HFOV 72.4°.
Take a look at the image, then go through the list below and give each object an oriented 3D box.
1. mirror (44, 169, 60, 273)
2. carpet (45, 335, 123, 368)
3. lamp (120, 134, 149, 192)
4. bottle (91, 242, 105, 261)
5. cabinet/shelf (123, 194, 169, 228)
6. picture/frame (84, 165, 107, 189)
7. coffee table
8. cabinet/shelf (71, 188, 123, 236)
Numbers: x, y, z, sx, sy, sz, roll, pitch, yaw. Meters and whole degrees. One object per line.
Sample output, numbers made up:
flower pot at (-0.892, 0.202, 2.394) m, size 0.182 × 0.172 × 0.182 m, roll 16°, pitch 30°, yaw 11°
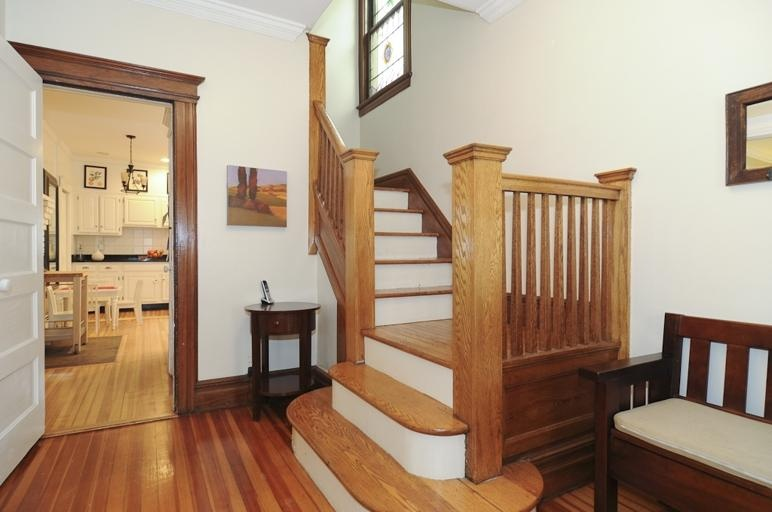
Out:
mirror at (-5.020, -0.515, 7.949) m, size 0.188 × 1.483 × 1.193 m, roll -4°, pitch 4°, yaw -30°
carpet at (-3.672, 1.159, 6.406) m, size 0.793 × 0.066 × 1.413 m, roll -3°, pitch 4°, yaw -26°
lamp at (-4.633, -1.687, 9.653) m, size 0.525 × 1.025 × 0.562 m, roll 0°, pitch 6°, yaw 6°
bottle at (-5.278, -0.091, 9.693) m, size 0.205 × 0.363 × 0.467 m, roll -3°, pitch 4°, yaw -28°
cabinet/shelf at (-4.547, -0.847, 9.916) m, size 0.876 × 0.758 × 0.478 m, roll 0°, pitch 0°, yaw -41°
picture/frame at (-5.383, -1.474, 9.737) m, size 0.038 × 0.567 × 0.465 m, roll -3°, pitch -2°, yaw 39°
coffee table at (-0.882, 0.864, 4.576) m, size 0.876 × 1.124 × 0.822 m, roll 2°, pitch -5°, yaw -14°
cabinet/shelf at (-5.272, -0.793, 9.851) m, size 0.804 × 0.766 × 0.351 m, roll 2°, pitch 4°, yaw -4°
